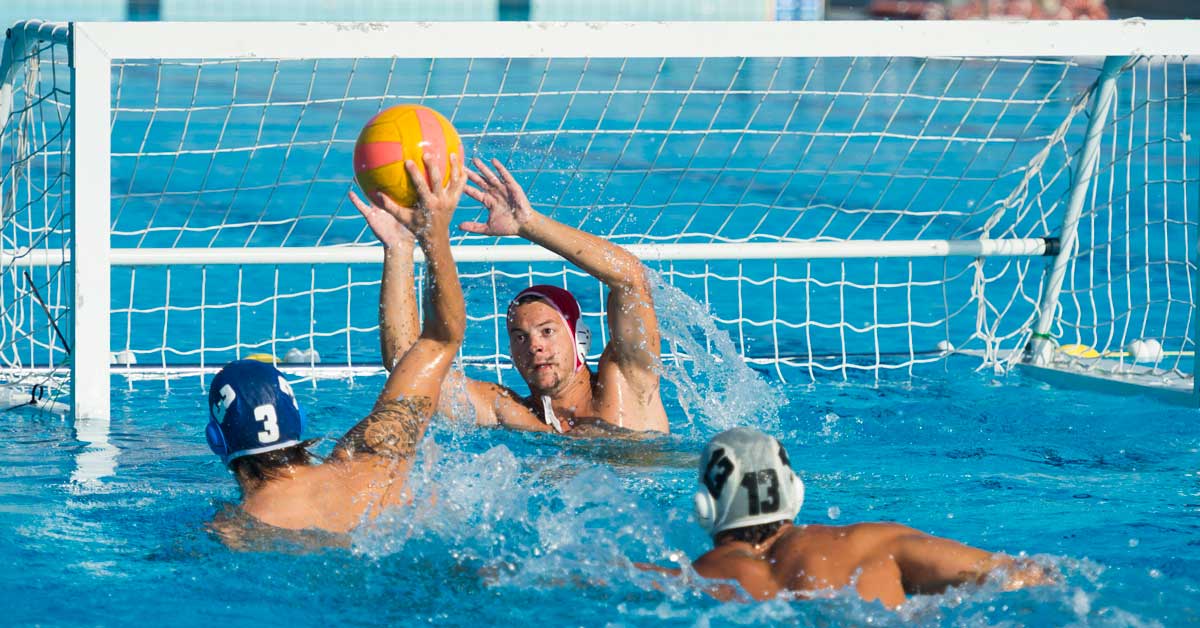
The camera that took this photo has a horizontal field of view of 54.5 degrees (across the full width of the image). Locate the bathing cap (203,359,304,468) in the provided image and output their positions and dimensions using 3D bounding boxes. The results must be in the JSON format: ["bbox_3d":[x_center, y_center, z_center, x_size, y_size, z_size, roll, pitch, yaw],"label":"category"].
[{"bbox_3d":[-1.940,0.546,6.653,0.640,0.530,0.648,-7,-9,-41],"label":"bathing cap"}]

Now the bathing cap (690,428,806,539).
[{"bbox_3d":[0.884,0.912,6.614,0.781,0.514,0.714,-7,0,20],"label":"bathing cap"}]

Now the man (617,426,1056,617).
[{"bbox_3d":[1.178,1.226,6.254,1.715,0.494,1.045,-3,7,-17],"label":"man"}]
